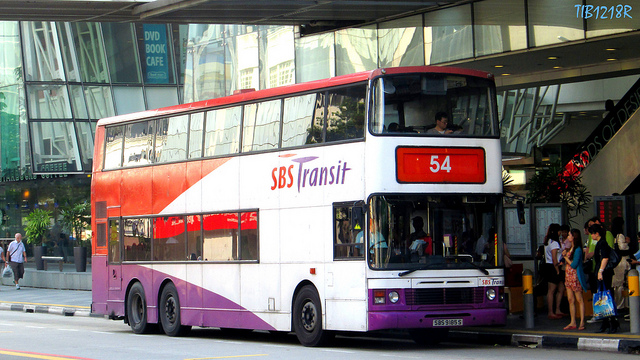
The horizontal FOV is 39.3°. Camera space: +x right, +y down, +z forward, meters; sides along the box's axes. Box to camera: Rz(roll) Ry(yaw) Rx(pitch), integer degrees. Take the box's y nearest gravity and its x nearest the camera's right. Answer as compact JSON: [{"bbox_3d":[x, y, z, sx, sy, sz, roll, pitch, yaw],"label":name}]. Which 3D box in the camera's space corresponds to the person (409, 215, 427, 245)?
[{"bbox_3d":[3.188,1.566,28.944,0.905,0.701,0.448,-6,12,-32],"label":"person"}]

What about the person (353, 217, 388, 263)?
[{"bbox_3d":[1.717,1.929,28.958,1.561,1.354,0.554,0,-3,12],"label":"person"}]

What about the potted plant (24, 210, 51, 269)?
[{"bbox_3d":[-18.576,3.894,59.235,1.991,3.583,1.867,5,1,19],"label":"potted plant"}]

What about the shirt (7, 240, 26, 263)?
[{"bbox_3d":[-16.522,3.847,48.490,0.765,1.152,0.919,6,0,-17],"label":"shirt"}]

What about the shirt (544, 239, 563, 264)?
[{"bbox_3d":[8.639,2.624,32.949,0.511,0.799,0.892,1,1,-36],"label":"shirt"}]

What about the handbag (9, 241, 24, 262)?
[{"bbox_3d":[-16.672,3.869,48.537,0.796,1.007,0.470,6,0,37],"label":"handbag"}]

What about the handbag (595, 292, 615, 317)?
[{"bbox_3d":[9.613,4.157,29.964,0.706,0.845,0.323,-10,-17,34],"label":"handbag"}]

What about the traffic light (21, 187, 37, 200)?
[{"bbox_3d":[-21.422,0.939,65.870,0.922,0.824,0.472,3,-1,37],"label":"traffic light"}]

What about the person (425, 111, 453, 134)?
[{"bbox_3d":[3.975,-1.860,29.367,0.874,0.755,0.398,6,0,-35],"label":"person"}]

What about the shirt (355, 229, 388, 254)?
[{"bbox_3d":[1.734,1.965,28.948,0.854,0.626,0.284,-1,-3,4],"label":"shirt"}]

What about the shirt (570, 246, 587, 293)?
[{"bbox_3d":[8.975,3.021,30.658,0.600,1.522,0.281,6,0,16],"label":"shirt"}]

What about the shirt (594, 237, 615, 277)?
[{"bbox_3d":[9.535,2.552,30.170,0.292,1.335,0.551,6,0,-33],"label":"shirt"}]
